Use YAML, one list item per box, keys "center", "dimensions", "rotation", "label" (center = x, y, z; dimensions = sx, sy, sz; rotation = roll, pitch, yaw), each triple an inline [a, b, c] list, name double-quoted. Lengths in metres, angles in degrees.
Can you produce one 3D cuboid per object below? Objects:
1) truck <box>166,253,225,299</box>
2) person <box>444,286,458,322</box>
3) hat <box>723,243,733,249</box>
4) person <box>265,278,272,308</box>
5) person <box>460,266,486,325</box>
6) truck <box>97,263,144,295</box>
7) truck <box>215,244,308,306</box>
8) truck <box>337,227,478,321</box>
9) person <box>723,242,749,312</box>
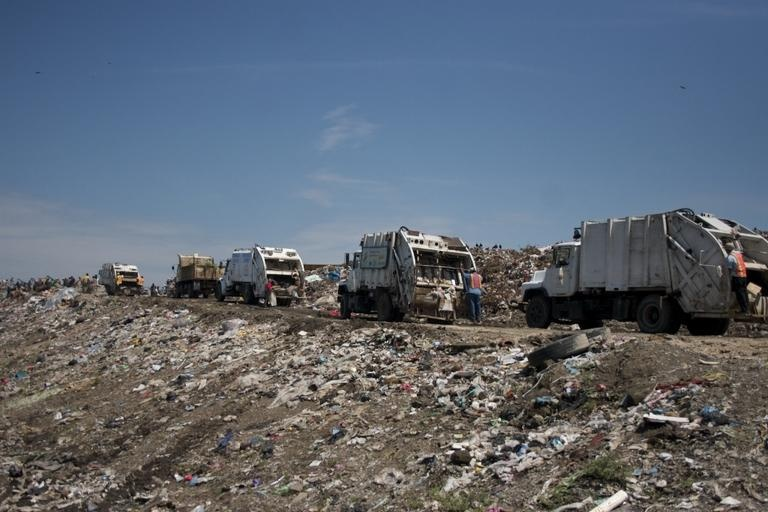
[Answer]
- center: [-11.271, 1.356, 30.994]
  dimensions: [2.800, 2.655, 4.720]
  rotation: [2, -3, -26]
  label: "truck"
- center: [2.157, 1.625, 17.019]
  dimensions: [0.359, 1.138, 0.544]
  rotation: [-6, -6, 42]
  label: "person"
- center: [9.154, -0.251, 13.541]
  dimensions: [0.210, 0.178, 0.054]
  rotation: [3, -17, -10]
  label: "hat"
- center: [-5.492, 1.732, 24.342]
  dimensions: [0.328, 1.341, 0.550]
  rotation: [0, -5, -23]
  label: "person"
- center: [3.076, 1.385, 17.699]
  dimensions: [0.522, 1.970, 1.284]
  rotation: [-3, -4, 13]
  label: "person"
- center: [-18.144, 1.735, 35.101]
  dimensions: [2.044, 2.004, 3.686]
  rotation: [3, -7, -31]
  label: "truck"
- center: [-5.896, 1.039, 25.964]
  dimensions: [4.041, 3.381, 6.760]
  rotation: [3, -2, -41]
  label: "truck"
- center: [0.600, 0.767, 18.646]
  dimensions: [2.878, 2.470, 4.574]
  rotation: [3, -3, -28]
  label: "truck"
- center: [9.109, 0.530, 13.168]
  dimensions: [0.387, 1.851, 0.712]
  rotation: [-5, -5, 35]
  label: "person"
